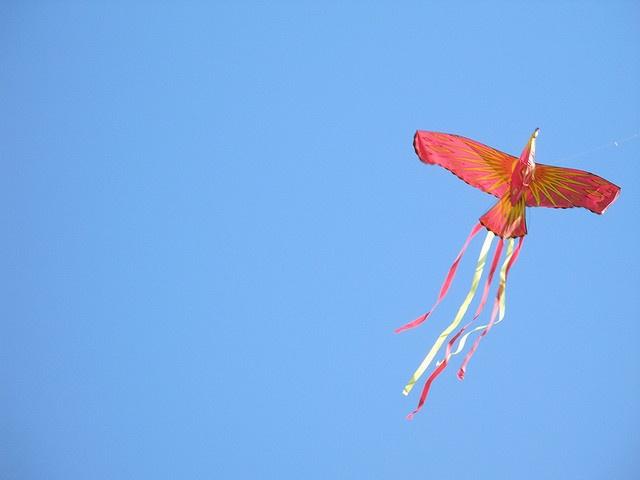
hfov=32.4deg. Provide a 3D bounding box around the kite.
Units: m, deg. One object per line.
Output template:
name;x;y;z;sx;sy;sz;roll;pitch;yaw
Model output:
kite;0.433;0.123;2.730;0.506;0.136;0.808;19;-104;-10
